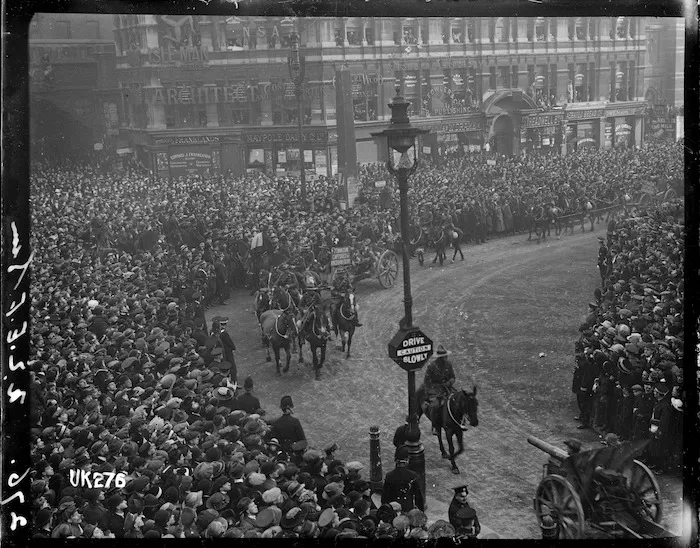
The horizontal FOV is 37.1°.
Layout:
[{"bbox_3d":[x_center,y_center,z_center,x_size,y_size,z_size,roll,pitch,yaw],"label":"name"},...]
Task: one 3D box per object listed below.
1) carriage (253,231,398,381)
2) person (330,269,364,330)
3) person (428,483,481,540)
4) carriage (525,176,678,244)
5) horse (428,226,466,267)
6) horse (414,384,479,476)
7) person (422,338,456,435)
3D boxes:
[{"bbox_3d":[-0.859,1.076,30.231,3.014,3.132,3.115,-8,17,-20],"label":"carriage"},{"bbox_3d":[-0.183,0.735,29.367,0.664,1.903,1.008,-6,9,-17],"label":"person"},{"bbox_3d":[2.059,4.732,20.524,0.931,1.058,0.832,0,10,9],"label":"person"},{"bbox_3d":[11.134,-2.545,43.751,1.834,1.479,5.040,-19,13,-20],"label":"carriage"},{"bbox_3d":[3.584,-1.037,38.433,0.392,1.012,1.572,4,8,44],"label":"horse"},{"bbox_3d":[2.285,3.489,23.721,1.516,2.086,1.370,-1,10,-8],"label":"horse"},{"bbox_3d":[1.972,2.596,24.230,0.792,2.060,0.691,11,14,30],"label":"person"}]
